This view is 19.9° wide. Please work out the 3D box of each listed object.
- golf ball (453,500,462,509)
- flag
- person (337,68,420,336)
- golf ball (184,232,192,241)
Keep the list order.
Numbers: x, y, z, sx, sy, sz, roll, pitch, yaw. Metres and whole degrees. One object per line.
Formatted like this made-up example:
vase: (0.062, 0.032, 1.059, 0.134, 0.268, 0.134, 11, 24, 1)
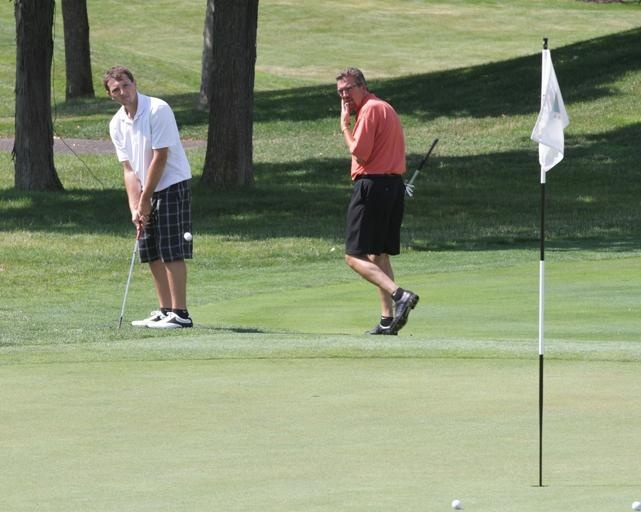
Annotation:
golf ball: (1.642, 2.915, 21.376, 0.107, 0.106, 0.080, 26, -12, 21)
flag: (2.898, -1.733, 22.764, 0.443, 1.661, 1.361, -1, 1, 8)
person: (0.793, -0.779, 25.363, 1.023, 3.694, 0.882, -1, 1, 0)
golf ball: (-1.844, -0.264, 25.313, 0.085, 0.122, 0.044, -21, 19, -20)
